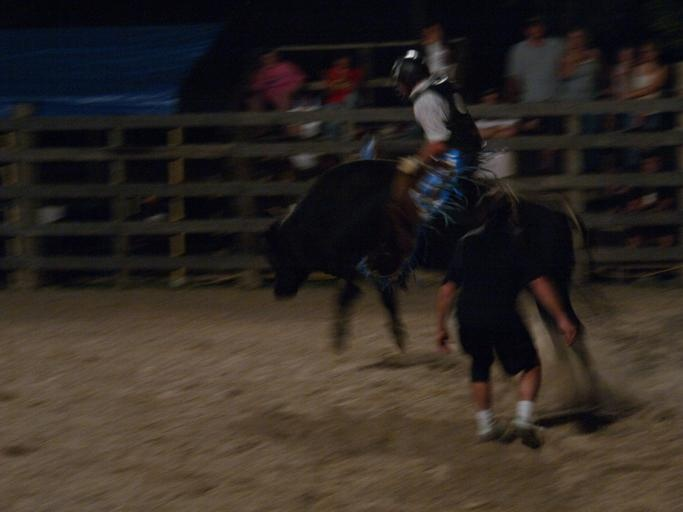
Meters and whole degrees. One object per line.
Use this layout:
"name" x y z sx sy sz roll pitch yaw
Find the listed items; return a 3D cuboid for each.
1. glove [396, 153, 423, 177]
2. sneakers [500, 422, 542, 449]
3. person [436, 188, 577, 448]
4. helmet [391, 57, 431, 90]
"glove" 0.452 -0.591 4.769 0.150 0.121 0.088 -8 10 -28
"sneakers" 1.049 1.030 4.283 0.247 0.144 0.142 5 4 23
"person" 0.885 0.372 4.278 0.549 1.454 0.417 -1 11 22
"helmet" 0.451 -1.220 4.861 0.241 0.201 0.116 1 11 28
